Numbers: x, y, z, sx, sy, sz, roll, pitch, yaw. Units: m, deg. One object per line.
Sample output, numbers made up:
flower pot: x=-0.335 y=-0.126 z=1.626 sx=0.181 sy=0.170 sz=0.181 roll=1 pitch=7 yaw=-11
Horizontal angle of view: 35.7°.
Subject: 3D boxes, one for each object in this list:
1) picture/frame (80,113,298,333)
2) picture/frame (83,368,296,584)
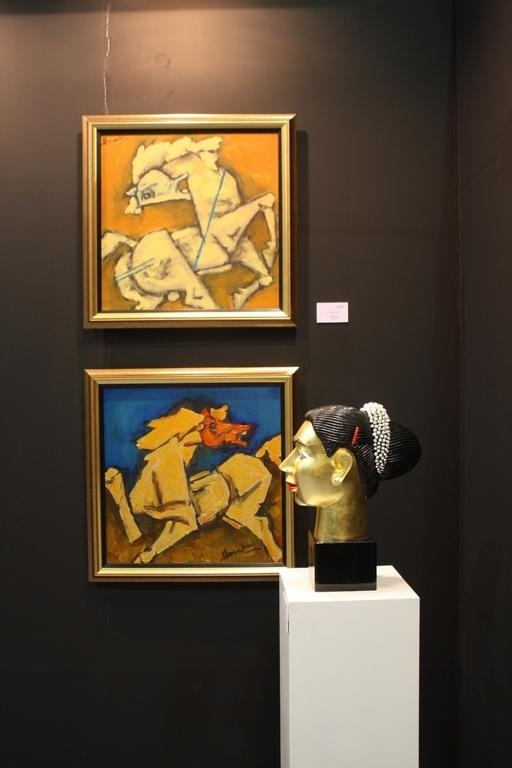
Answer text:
picture/frame: x=-0.197 y=-0.510 z=2.458 sx=0.640 sy=0.662 sz=0.048 roll=0 pitch=0 yaw=-1
picture/frame: x=-0.188 y=0.287 z=2.470 sx=0.645 sy=0.671 sz=0.046 roll=-1 pitch=-1 yaw=-2
